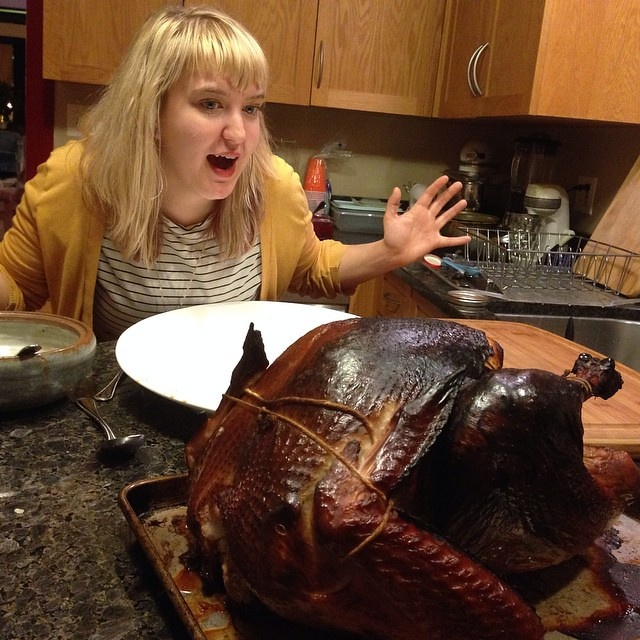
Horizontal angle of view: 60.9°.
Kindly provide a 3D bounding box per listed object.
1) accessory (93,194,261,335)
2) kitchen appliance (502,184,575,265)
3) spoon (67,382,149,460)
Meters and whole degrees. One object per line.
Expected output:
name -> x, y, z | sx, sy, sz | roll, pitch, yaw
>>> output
accessory -> -0.372, -0.089, 1.597 | 0.561, 0.263, 0.509 | 3, -23, -30
kitchen appliance -> 0.874, -0.373, 2.168 | 0.258, 0.307, 0.423 | 13, 19, 17
spoon -> -0.296, 0.144, 0.764 | 0.052, 0.040, 0.211 | -6, 23, -32
